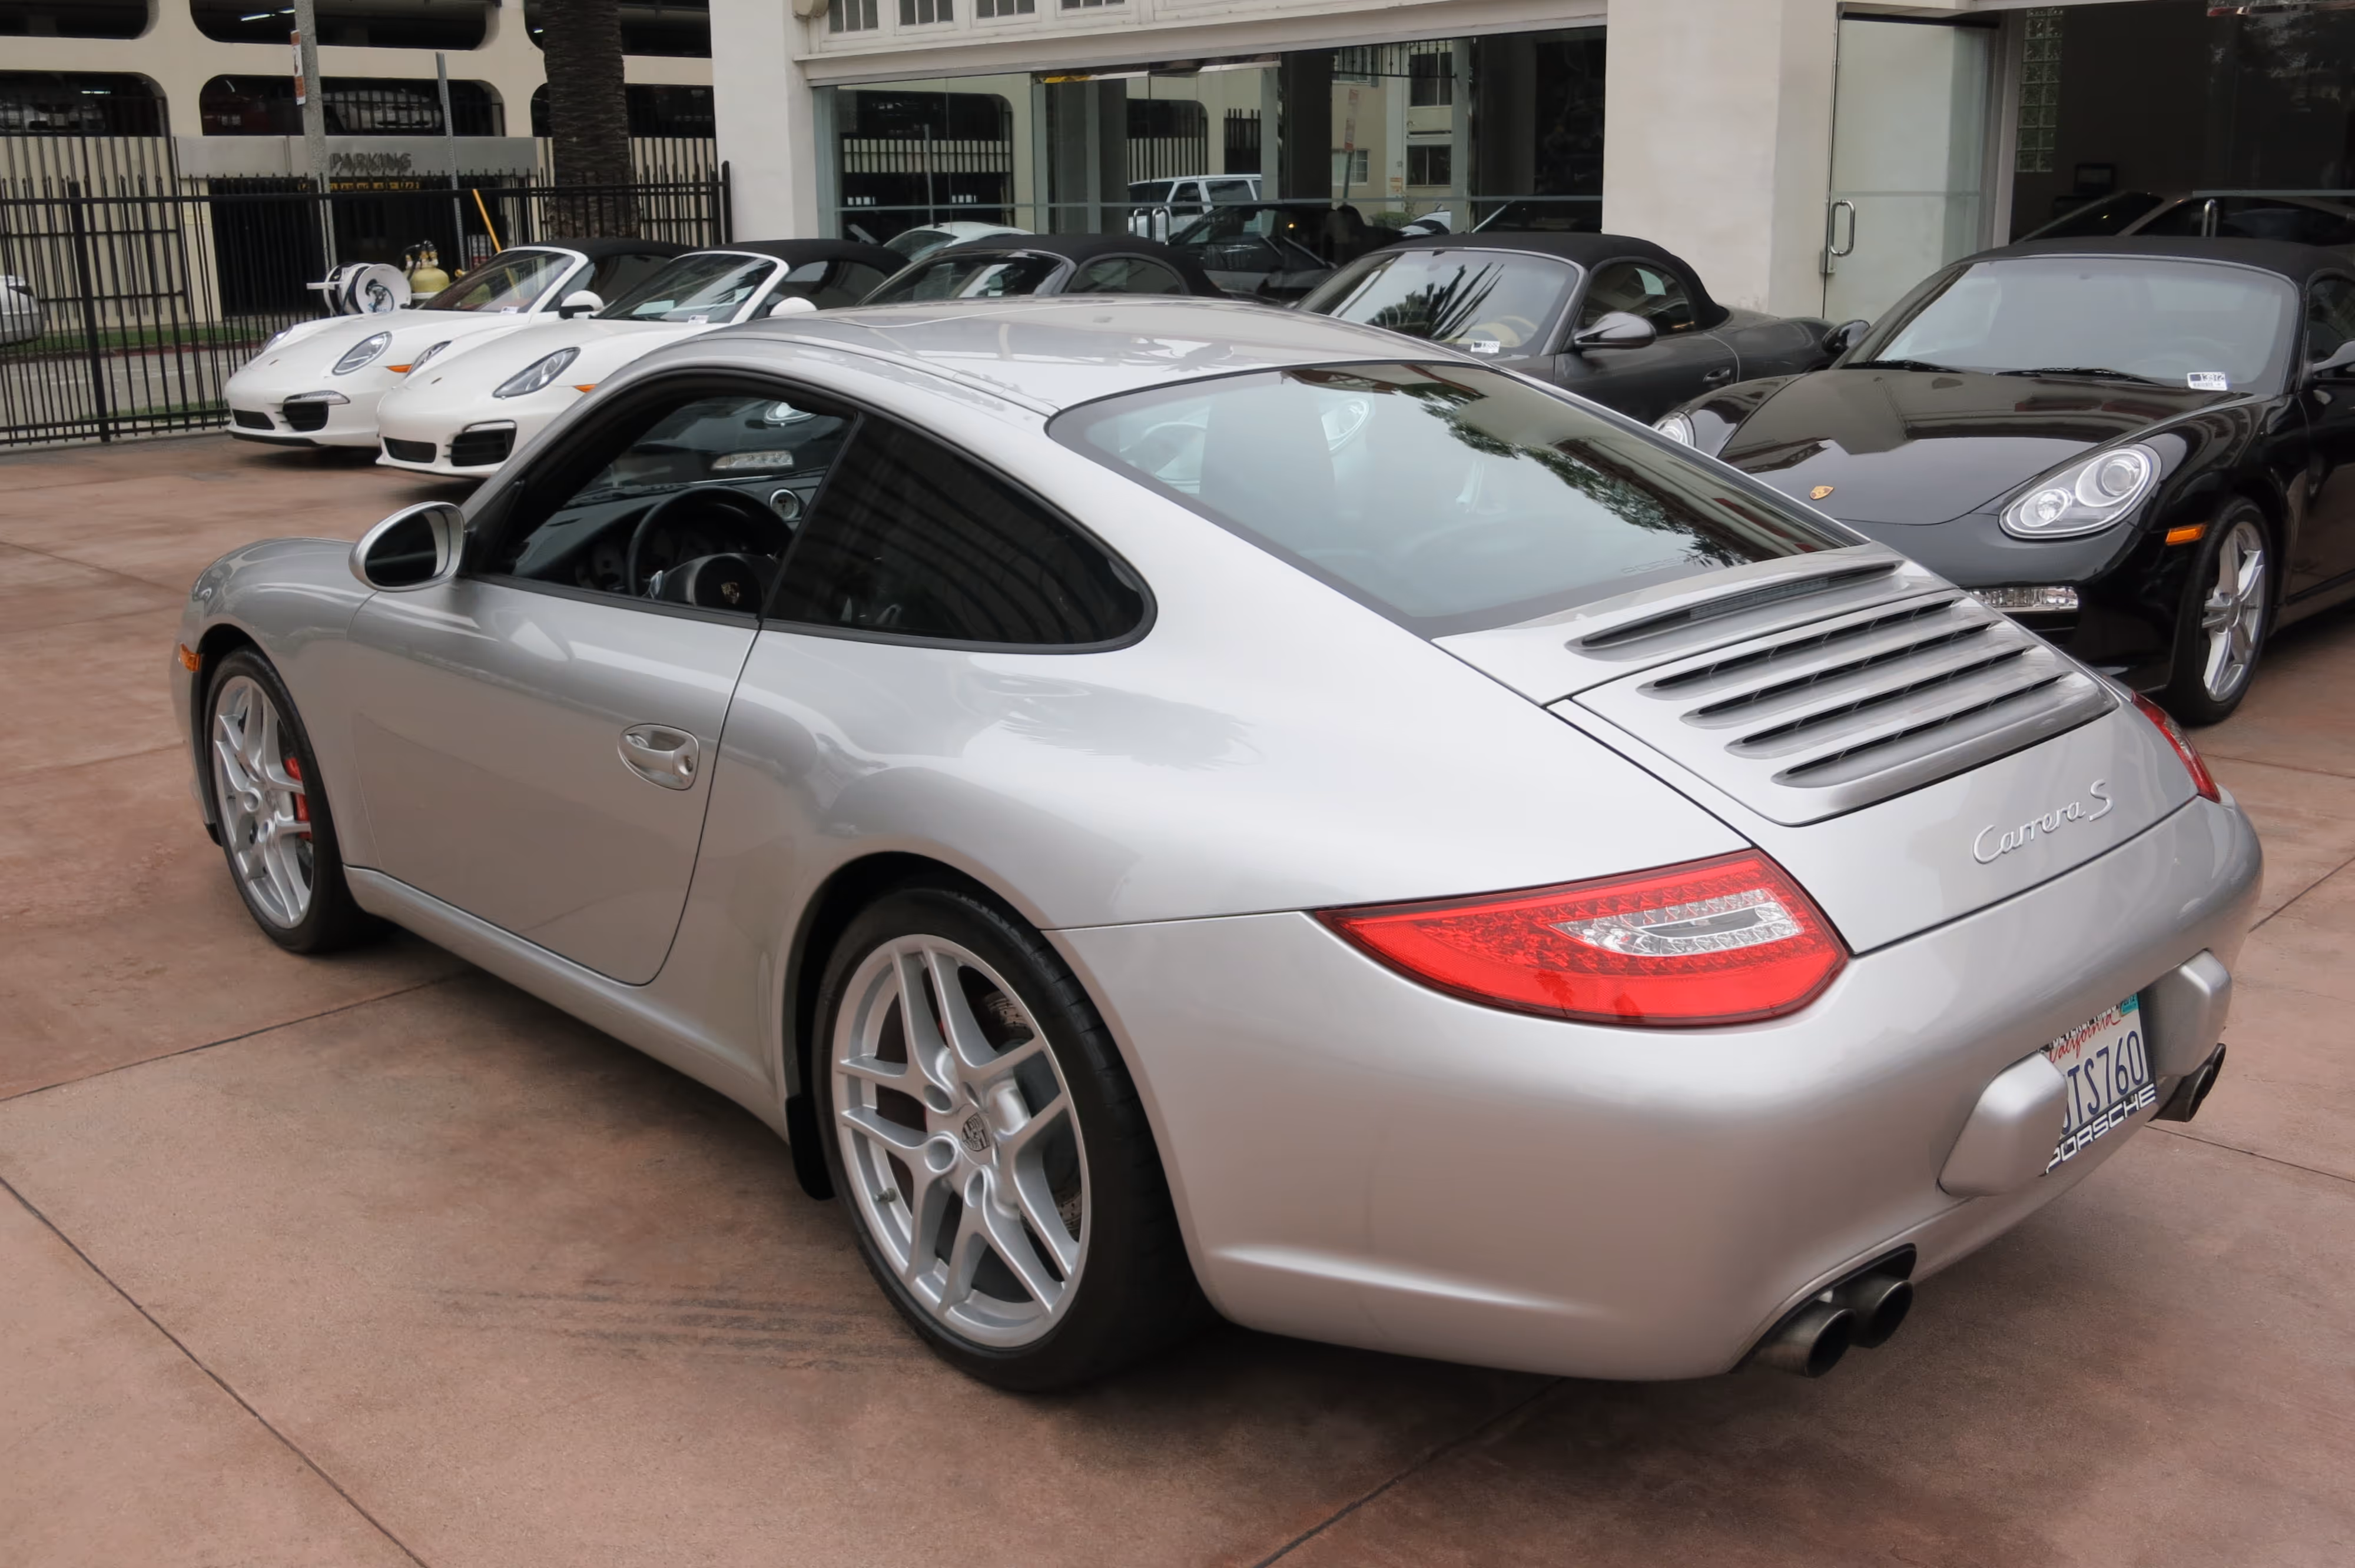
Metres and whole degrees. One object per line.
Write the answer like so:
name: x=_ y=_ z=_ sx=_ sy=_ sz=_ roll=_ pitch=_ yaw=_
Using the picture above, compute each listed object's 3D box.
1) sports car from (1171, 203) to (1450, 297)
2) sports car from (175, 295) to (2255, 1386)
sports car: x=1.319 y=-6.373 z=16.195 sx=3.386 sy=0.914 sz=1.776 roll=3 pitch=23 yaw=-1
sports car: x=-0.469 y=-0.171 z=3.159 sx=4.474 sy=1.216 sz=2.278 roll=17 pitch=21 yaw=31
